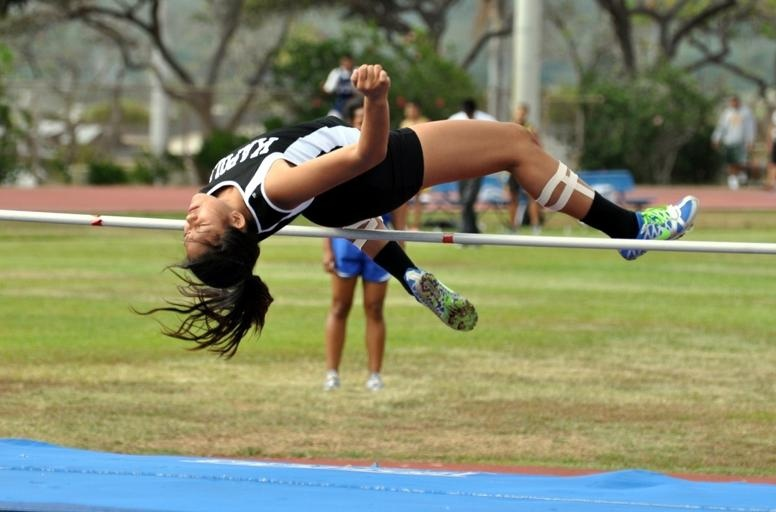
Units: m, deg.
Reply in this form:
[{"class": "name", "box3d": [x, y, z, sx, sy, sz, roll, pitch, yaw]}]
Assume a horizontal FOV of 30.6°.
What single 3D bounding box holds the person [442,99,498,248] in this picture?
[{"class": "person", "box3d": [0.923, -0.911, 15.149, 0.435, 1.339, 0.912, -13, 16, -36]}]
